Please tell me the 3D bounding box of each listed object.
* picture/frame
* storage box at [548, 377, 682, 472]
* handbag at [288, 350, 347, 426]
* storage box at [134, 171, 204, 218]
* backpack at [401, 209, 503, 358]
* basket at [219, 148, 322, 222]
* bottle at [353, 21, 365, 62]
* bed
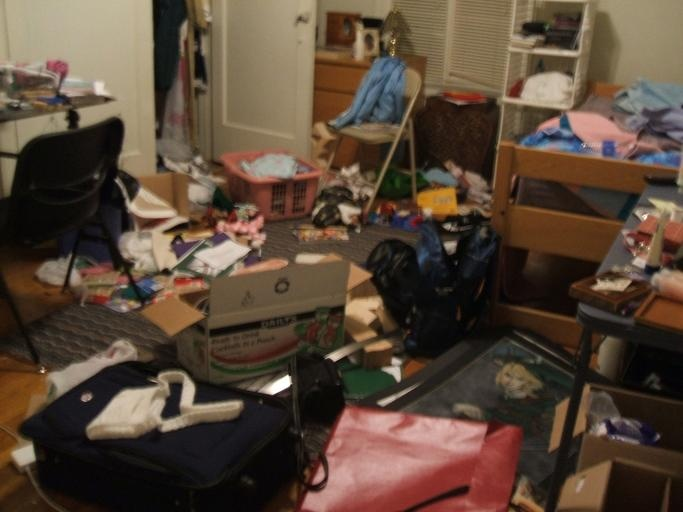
[{"bbox_3d":[0.772,0.094,1.648,0.258,0.043,0.143,-15,29,-35],"label":"picture/frame"},{"bbox_3d":[0.914,0.555,1.998,0.346,0.096,0.362,-3,21,2],"label":"storage box"},{"bbox_3d":[-0.085,0.456,1.966,0.180,0.209,0.219,-6,36,-18],"label":"handbag"},{"bbox_3d":[-0.969,-0.373,3.422,0.295,0.183,0.294,-14,37,-40],"label":"storage box"},{"bbox_3d":[0.491,0.148,2.600,0.421,0.571,0.203,18,-19,-28],"label":"backpack"},{"bbox_3d":[-0.479,-0.468,3.907,0.518,0.343,0.569,-11,27,-29],"label":"basket"},{"bbox_3d":[0.138,-1.628,4.434,0.093,0.276,0.200,3,23,1],"label":"bottle"},{"bbox_3d":[0.948,-0.087,2.593,0.548,0.659,1.007,12,25,12],"label":"bed"}]
